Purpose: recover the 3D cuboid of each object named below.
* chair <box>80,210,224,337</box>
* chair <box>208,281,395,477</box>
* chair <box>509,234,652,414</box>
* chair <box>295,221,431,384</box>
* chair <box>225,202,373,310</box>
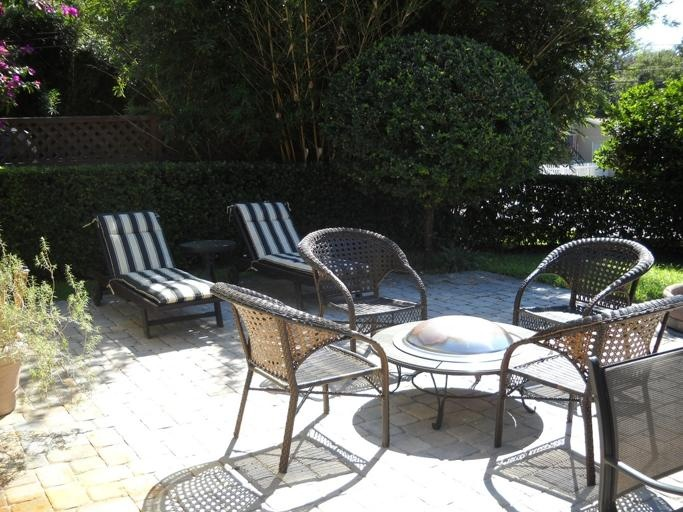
[{"bbox_3d":[-2.376,0.178,6.938,0.977,1.172,2.006,-10,19,-41],"label":"chair"},{"bbox_3d":[-0.281,0.798,4.009,1.115,1.149,1.114,3,8,34],"label":"chair"},{"bbox_3d":[2.026,0.440,4.856,1.038,1.111,1.031,4,11,25],"label":"chair"},{"bbox_3d":[0.206,0.388,5.316,1.169,1.248,1.193,3,8,25],"label":"chair"},{"bbox_3d":[-0.640,-0.030,7.744,0.933,1.041,1.647,-2,19,-38],"label":"chair"}]
